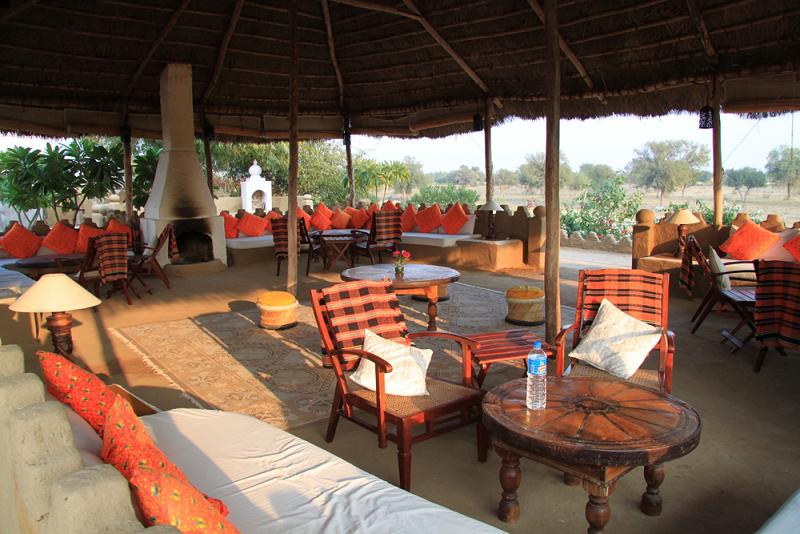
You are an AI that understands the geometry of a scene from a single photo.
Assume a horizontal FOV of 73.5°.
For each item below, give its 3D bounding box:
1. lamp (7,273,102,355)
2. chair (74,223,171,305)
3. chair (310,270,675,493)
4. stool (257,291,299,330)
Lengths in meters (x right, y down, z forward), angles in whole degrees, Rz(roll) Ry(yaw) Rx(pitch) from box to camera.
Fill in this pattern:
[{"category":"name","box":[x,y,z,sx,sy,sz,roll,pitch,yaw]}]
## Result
[{"category":"lamp","box":[-2.957,0.448,4.622,0.620,0.755,0.477,2,10,21]},{"category":"chair","box":[-4.368,0.115,8.609,1.339,1.494,1.276,11,11,36]},{"category":"chair","box":[0.331,0.787,4.439,1.511,1.587,2.648,-4,3,-34]},{"category":"stool","box":[-1.585,0.573,6.907,0.422,0.303,0.423,3,9,15]}]
